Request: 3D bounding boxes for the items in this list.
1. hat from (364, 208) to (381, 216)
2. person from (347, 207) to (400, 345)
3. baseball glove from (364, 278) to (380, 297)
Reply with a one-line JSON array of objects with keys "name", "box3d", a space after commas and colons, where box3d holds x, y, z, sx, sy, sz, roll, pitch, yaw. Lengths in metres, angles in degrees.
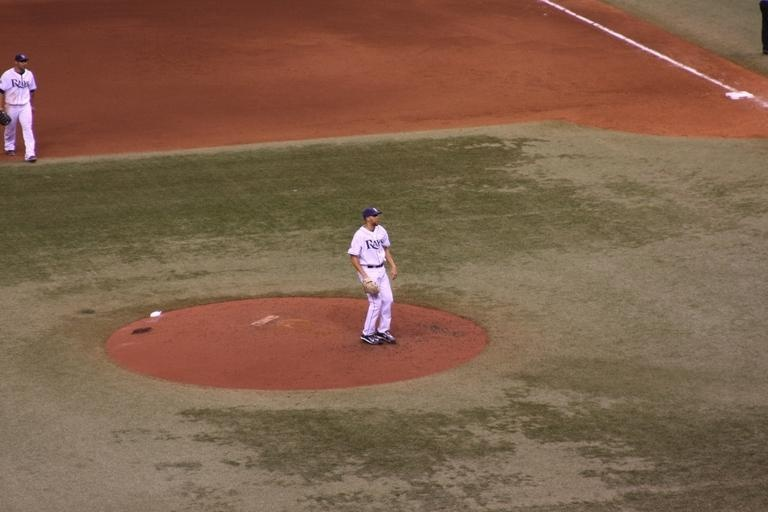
[{"name": "hat", "box3d": [-0.178, -0.825, 30.811, 0.319, 0.110, 0.186, -3, 8, 3]}, {"name": "person", "box3d": [-0.190, 0.356, 30.832, 0.724, 2.466, 0.726, -4, 18, -1]}, {"name": "baseball glove", "box3d": [-0.196, 0.558, 30.674, 0.244, 0.323, 0.147, -44, -3, 29]}]
